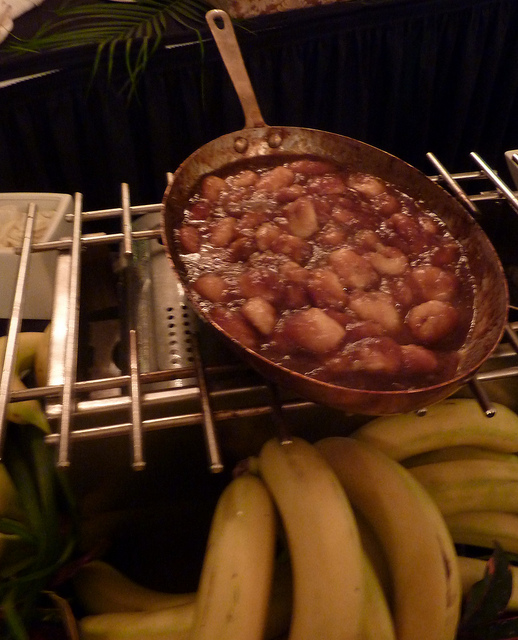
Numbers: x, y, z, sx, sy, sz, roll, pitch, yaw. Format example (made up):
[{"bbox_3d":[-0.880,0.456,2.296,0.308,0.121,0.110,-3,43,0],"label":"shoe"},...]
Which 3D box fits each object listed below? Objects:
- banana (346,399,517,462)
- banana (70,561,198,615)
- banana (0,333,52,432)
[{"bbox_3d":[0.205,0.106,0.631,0.191,0.076,0.040,-6,18,3],"label":"banana"},{"bbox_3d":[-0.131,0.292,0.621,0.141,0.042,0.037,7,10,15],"label":"banana"},{"bbox_3d":[-0.256,0.069,0.626,0.050,0.110,0.031,-1,-19,-37],"label":"banana"}]
